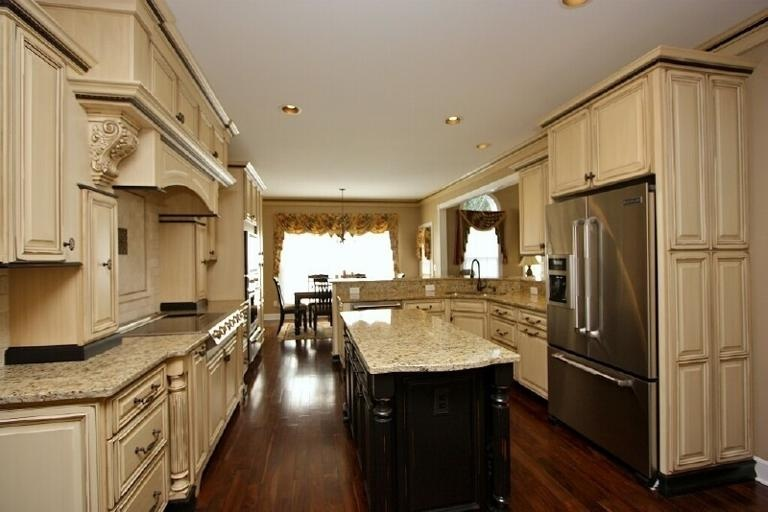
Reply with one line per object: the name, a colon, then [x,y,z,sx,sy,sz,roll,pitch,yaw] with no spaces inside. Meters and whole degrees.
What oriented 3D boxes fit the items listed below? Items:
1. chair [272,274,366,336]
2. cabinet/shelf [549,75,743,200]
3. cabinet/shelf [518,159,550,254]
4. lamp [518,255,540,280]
chair: [-1.282,0.784,8.886,1.067,0.701,1.098,0,3,-8]
cabinet/shelf: [2.058,-0.682,4.478,0.753,0.836,1.334,1,-3,-12]
cabinet/shelf: [1.613,-0.528,5.977,0.158,0.860,0.651,-2,-1,-3]
lamp: [1.947,0.143,7.427,0.331,0.492,0.372,-1,0,16]
